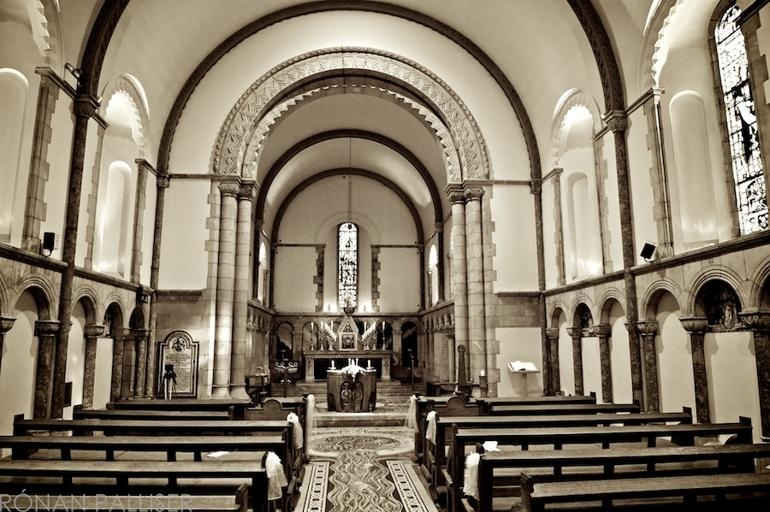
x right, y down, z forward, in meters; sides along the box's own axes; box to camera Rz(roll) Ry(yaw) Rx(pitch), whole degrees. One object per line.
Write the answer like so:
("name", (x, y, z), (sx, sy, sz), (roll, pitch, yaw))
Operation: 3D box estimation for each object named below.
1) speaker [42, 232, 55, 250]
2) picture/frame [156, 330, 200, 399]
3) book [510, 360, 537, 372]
("speaker", (-8.244, -0.367, 15.387), (0.254, 0.461, 0.183), (6, -14, -28))
("picture/frame", (-6.565, 3.403, 19.988), (1.279, 2.123, 0.708), (3, -13, -17))
("book", (4.589, 3.633, 20.718), (0.939, 0.384, 0.510), (-2, -12, 5))
